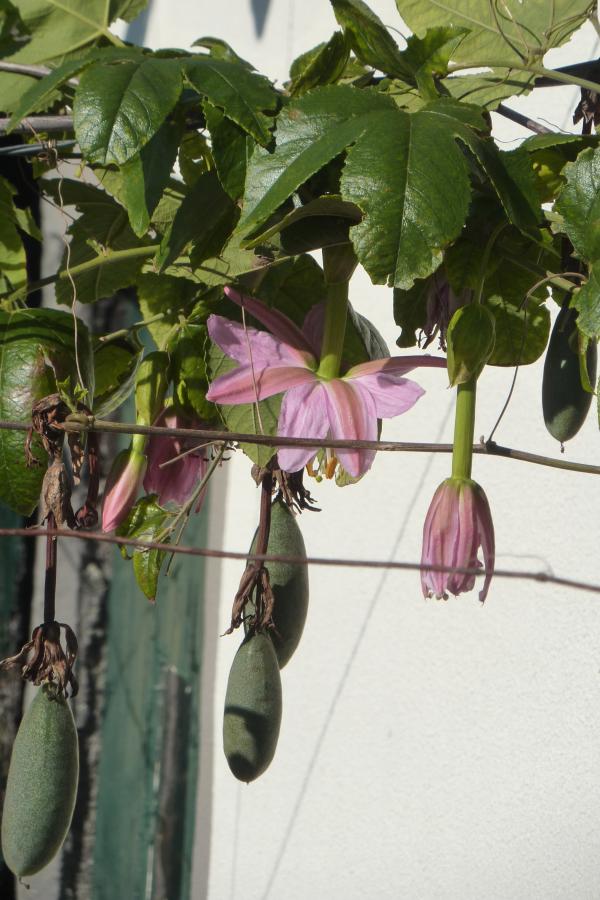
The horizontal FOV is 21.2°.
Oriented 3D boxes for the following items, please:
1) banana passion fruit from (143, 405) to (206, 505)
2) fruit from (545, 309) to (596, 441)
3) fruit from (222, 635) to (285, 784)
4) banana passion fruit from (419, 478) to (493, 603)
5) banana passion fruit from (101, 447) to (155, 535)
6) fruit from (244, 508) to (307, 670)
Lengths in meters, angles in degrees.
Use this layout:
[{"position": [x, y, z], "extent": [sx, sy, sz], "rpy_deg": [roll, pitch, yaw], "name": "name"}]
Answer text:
[{"position": [-0.086, 0.002, 1.069], "extent": [0.044, 0.061, 0.015], "rpy_deg": [11, 9, -27], "name": "banana passion fruit"}, {"position": [0.174, -0.055, 1.027], "extent": [0.035, 0.090, 0.080], "rpy_deg": [3, -15, 6], "name": "fruit"}, {"position": [-0.030, 0.170, 1.064], "extent": [0.039, 0.098, 0.033], "rpy_deg": [12, -16, -26], "name": "fruit"}, {"position": [0.095, 0.049, 0.954], "extent": [0.044, 0.075, 0.134], "rpy_deg": [3, -14, 6], "name": "banana passion fruit"}, {"position": [-0.115, 0.023, 1.048], "extent": [0.030, 0.075, 0.026], "rpy_deg": [14, -42, 1], "name": "banana passion fruit"}, {"position": [-0.014, 0.086, 1.082], "extent": [0.041, 0.115, 0.114], "rpy_deg": [5, -15, 0], "name": "fruit"}]
